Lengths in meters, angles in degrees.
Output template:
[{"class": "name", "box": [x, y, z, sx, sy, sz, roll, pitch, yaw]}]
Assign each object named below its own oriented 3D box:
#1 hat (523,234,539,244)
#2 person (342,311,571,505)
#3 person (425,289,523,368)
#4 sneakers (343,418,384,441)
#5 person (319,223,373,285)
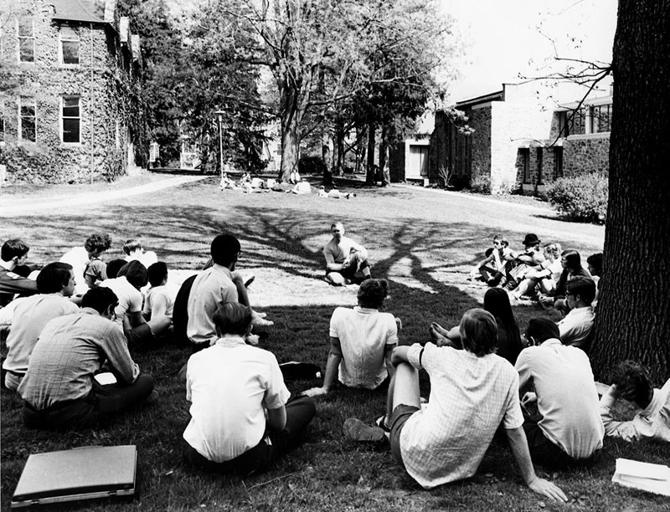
[{"class": "hat", "box": [4.443, -0.374, 14.661, 0.325, 0.181, 0.434, 2, 6, 16]}, {"class": "person", "box": [1.079, 1.258, 6.407, 1.094, 1.686, 2.239, -3, 13, -27]}, {"class": "person", "box": [1.607, 0.820, 7.698, 0.574, 1.003, 1.272, 4, 10, -39]}, {"class": "sneakers", "box": [0.301, 1.810, 6.780, 0.296, 0.145, 0.224, 9, 51, 13]}, {"class": "person", "box": [0.278, -0.013, 14.246, 1.232, 1.404, 0.987, 0, 11, 37]}]
